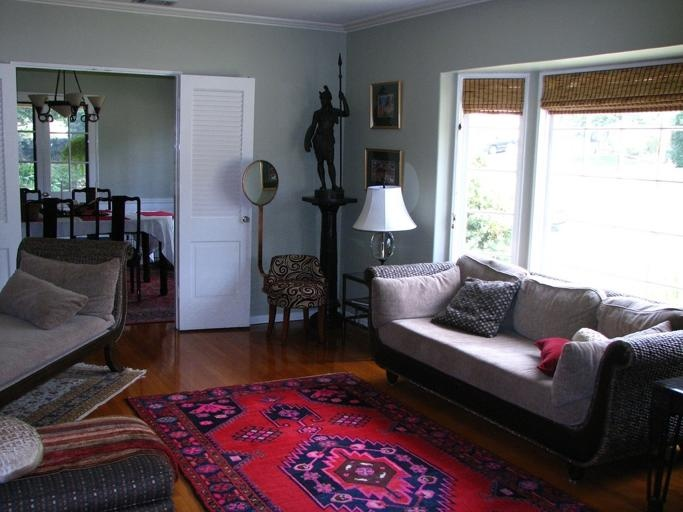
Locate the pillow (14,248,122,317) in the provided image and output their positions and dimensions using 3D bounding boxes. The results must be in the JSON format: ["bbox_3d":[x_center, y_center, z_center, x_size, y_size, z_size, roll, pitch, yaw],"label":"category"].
[{"bbox_3d":[-2.169,0.235,4.156,0.751,0.467,0.240,7,2,2],"label":"pillow"}]

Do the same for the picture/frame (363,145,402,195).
[{"bbox_3d":[0.413,-0.852,5.171,0.055,0.455,0.539,-8,16,-41],"label":"picture/frame"}]

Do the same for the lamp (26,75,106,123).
[{"bbox_3d":[-3.835,-2.279,7.426,0.838,0.767,1.754,-4,12,-25],"label":"lamp"}]

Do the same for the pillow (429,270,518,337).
[{"bbox_3d":[1.002,0.315,3.949,0.482,0.454,0.146,20,4,-15],"label":"pillow"}]

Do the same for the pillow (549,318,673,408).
[{"bbox_3d":[1.462,0.602,2.912,0.475,0.432,0.431,8,13,33],"label":"pillow"}]

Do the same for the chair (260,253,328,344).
[{"bbox_3d":[-0.448,0.379,5.175,0.549,0.727,0.653,0,8,-13],"label":"chair"}]

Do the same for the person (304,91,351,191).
[{"bbox_3d":[-0.167,-1.223,5.469,0.450,1.057,0.502,3,11,10],"label":"person"}]

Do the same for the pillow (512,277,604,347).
[{"bbox_3d":[1.470,0.424,3.721,0.233,0.420,0.620,12,-1,-33],"label":"pillow"}]

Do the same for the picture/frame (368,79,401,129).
[{"bbox_3d":[0.433,-1.498,5.204,0.041,0.515,0.502,-4,10,-36],"label":"picture/frame"}]

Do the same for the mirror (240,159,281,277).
[{"bbox_3d":[-0.811,-0.375,5.248,0.350,1.121,0.199,-1,11,-11],"label":"mirror"}]

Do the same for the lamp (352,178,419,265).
[{"bbox_3d":[0.388,-0.258,4.647,0.405,0.691,0.427,11,14,43],"label":"lamp"}]
